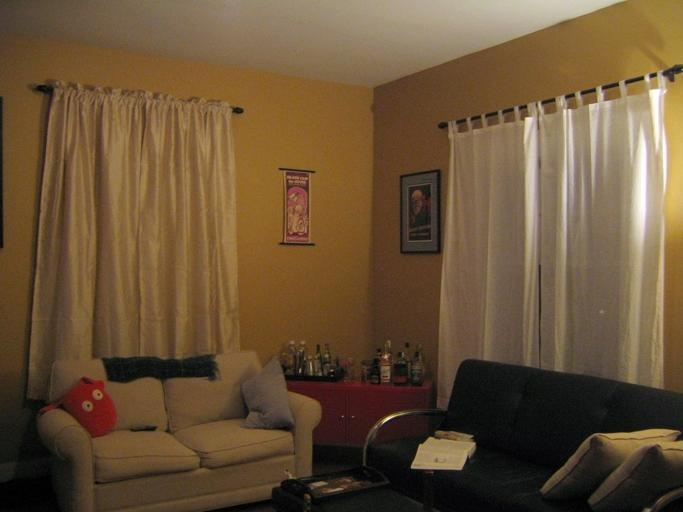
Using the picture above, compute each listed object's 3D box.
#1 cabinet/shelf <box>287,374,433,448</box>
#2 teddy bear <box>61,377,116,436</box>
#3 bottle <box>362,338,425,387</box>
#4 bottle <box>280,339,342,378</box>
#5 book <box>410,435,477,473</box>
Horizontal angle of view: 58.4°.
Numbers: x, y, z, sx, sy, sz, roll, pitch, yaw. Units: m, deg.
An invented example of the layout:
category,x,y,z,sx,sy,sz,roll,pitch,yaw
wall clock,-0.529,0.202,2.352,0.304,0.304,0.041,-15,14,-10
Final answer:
category,x,y,z,sx,sy,sz,roll,pitch,yaw
cabinet/shelf,0.054,1.427,5.421,1.292,0.595,0.414,2,-7,-2
teddy bear,-1.783,1.073,4.344,0.372,0.377,0.272,1,-2,-24
bottle,0.509,0.978,5.466,0.410,0.299,0.406,0,-2,0
bottle,-0.269,0.902,5.564,0.365,0.238,0.374,1,-6,0
book,0.611,1.211,3.705,0.220,0.046,0.295,-2,7,19
